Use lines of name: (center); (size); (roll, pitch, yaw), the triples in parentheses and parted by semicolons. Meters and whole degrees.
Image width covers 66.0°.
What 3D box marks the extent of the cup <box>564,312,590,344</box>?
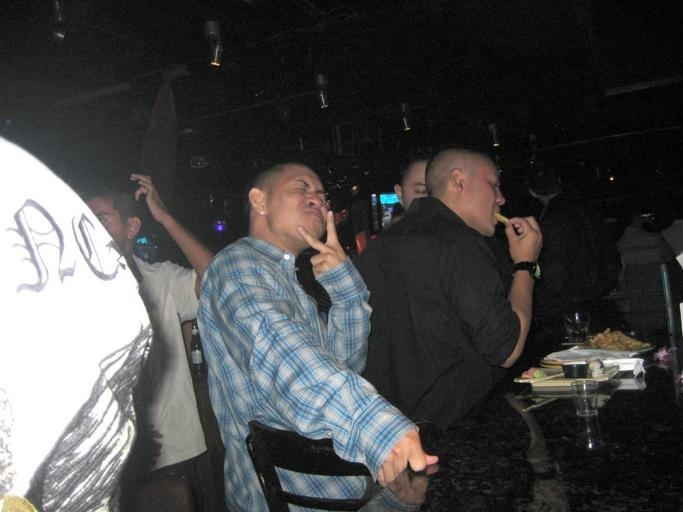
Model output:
cup: (0.971, 0.301, 2.198); (0.136, 0.137, 0.127); (1, -5, 0)

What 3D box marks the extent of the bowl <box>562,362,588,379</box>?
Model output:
bowl: (0.670, 0.327, 1.502); (0.055, 0.031, 0.050); (-2, -4, 0)
